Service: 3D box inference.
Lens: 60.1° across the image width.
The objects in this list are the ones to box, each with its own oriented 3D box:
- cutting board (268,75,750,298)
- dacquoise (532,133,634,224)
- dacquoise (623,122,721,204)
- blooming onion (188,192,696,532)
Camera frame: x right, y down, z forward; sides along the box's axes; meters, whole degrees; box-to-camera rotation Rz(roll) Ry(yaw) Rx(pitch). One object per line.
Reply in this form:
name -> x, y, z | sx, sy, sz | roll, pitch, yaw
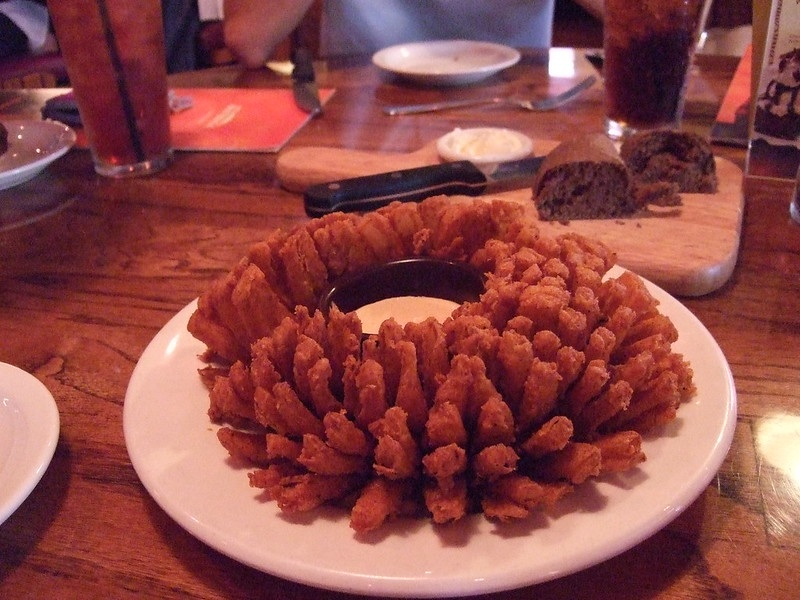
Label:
cutting board -> 0.248, -0.130, 1.061 | 0.416, 0.035, 0.436 | 14, 26, 25
dacquoise -> 0.302, -0.211, 1.115 | 0.164, 0.118, 0.190 | -1, 23, 19
dacquoise -> 0.425, -0.218, 1.106 | 0.127, 0.044, 0.108 | 9, 59, 1
blooming onion -> 0.018, 0.054, 0.679 | 0.407, 0.343, 0.291 | -5, 18, -14
